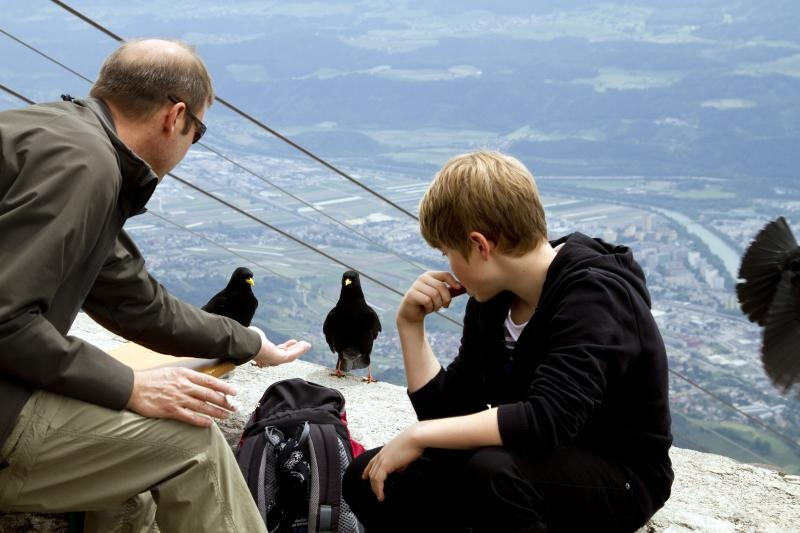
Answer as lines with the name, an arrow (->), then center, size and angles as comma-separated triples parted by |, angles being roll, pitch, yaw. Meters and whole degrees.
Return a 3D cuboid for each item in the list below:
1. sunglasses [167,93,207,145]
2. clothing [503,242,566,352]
sunglasses -> -0.765, -0.541, 2.201 | 0.034, 0.118, 0.115 | -42, 17, -21
clothing -> 0.389, 0.133, 2.228 | 0.269, 0.338, 0.312 | 12, -12, 0
